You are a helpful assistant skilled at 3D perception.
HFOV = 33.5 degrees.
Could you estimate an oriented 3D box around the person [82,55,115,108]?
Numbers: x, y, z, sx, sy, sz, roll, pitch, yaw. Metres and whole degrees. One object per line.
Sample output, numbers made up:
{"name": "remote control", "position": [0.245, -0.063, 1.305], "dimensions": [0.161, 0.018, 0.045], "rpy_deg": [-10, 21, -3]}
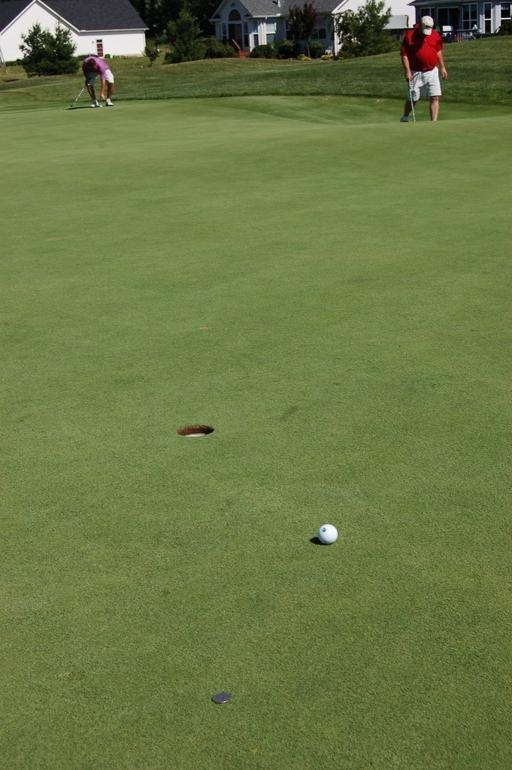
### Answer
{"name": "person", "position": [-3.507, -6.678, 18.670], "dimensions": [0.572, 0.896, 1.482], "rpy_deg": [-1, 4, -4]}

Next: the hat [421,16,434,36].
{"name": "hat", "position": [2.475, -5.251, 12.319], "dimensions": [0.201, 0.304, 0.110], "rpy_deg": [2, -26, -2]}

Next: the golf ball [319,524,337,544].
{"name": "golf ball", "position": [0.246, 0.512, 2.949], "dimensions": [0.064, 0.059, 0.075], "rpy_deg": [-2, 17, 8]}
